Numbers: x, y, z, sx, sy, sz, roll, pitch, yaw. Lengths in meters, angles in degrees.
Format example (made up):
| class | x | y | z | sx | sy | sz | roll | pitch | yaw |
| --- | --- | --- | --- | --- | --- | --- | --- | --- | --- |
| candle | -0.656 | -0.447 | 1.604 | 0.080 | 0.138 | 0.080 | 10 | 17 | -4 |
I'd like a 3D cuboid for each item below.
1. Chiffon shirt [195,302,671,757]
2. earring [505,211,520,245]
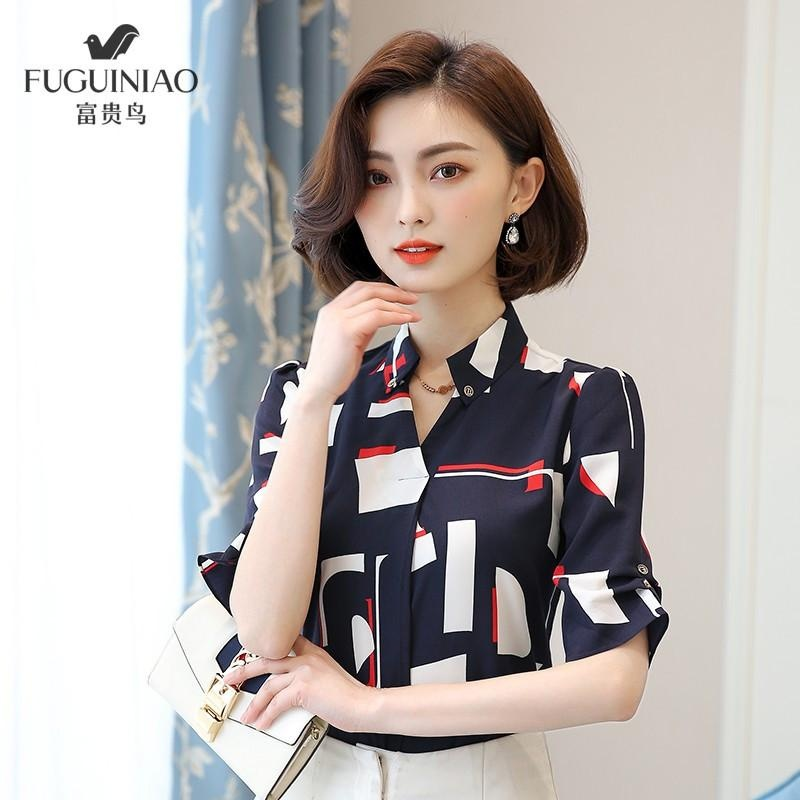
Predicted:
| class | x | y | z | sx | sy | sz | roll | pitch | yaw |
| --- | --- | --- | --- | --- | --- | --- | --- | --- | --- |
| Chiffon shirt | 0.046 | 0.178 | 1.417 | 0.702 | 0.651 | 0.258 | 2 | 11 | 14 |
| earring | 0.180 | -0.274 | 1.441 | 0.016 | 0.039 | 0.028 | 2 | 12 | 18 |
